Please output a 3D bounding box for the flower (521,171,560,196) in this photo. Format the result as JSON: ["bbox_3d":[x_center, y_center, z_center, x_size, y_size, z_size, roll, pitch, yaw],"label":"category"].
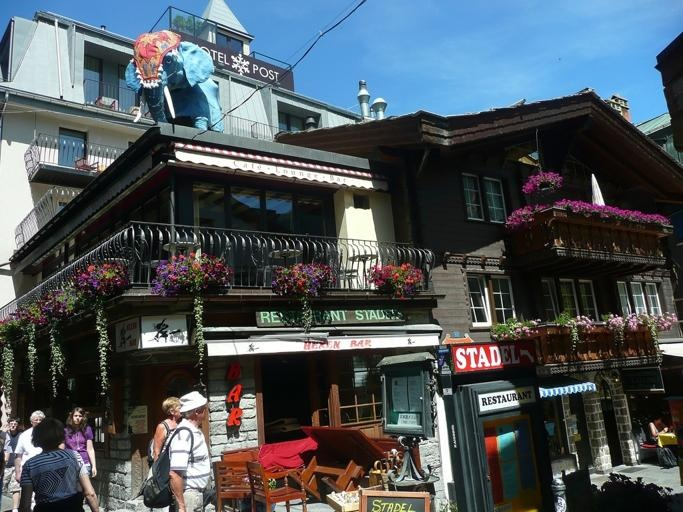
[{"bbox_3d":[6.115,-2.264,21.031,0.767,0.475,0.849,-22,-6,-5],"label":"flower"}]

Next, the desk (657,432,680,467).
[{"bbox_3d":[10.787,6.363,22.276,0.492,1.104,0.823,0,-12,-19],"label":"desk"}]

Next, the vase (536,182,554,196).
[{"bbox_3d":[6.296,-2.113,20.869,0.493,0.219,0.498,4,-14,-35],"label":"vase"}]

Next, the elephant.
[{"bbox_3d":[-4.662,-5.035,19.164,1.068,2.589,2.810,-11,-13,29],"label":"elephant"}]

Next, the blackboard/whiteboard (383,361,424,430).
[{"bbox_3d":[1.220,2.763,13.104,0.169,1.328,1.107,7,-16,-42],"label":"blackboard/whiteboard"}]

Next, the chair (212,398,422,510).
[{"bbox_3d":[-0.493,4.779,15.543,4.272,1.714,1.992,1,-13,-26],"label":"chair"}]

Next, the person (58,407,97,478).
[{"bbox_3d":[-5.877,4.478,15.170,0.747,2.016,0.539,0,2,-3],"label":"person"}]
